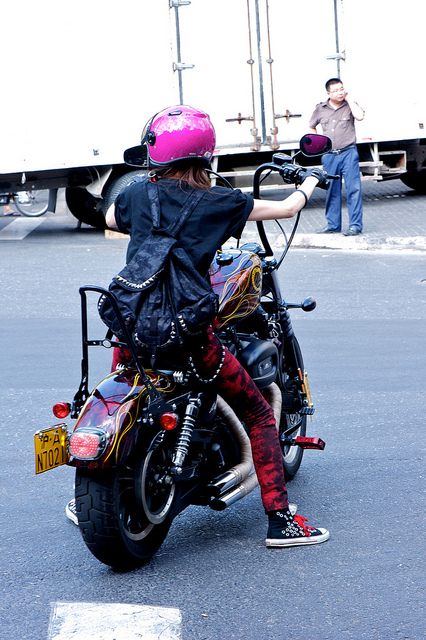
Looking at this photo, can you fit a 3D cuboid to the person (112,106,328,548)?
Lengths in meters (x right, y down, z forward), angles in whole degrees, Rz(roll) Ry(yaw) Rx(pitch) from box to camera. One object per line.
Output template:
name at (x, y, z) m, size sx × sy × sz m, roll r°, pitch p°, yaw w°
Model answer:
person at (0.045, 0.055, 2.614) m, size 0.820 × 1.754 × 0.556 m, roll -3°, pitch 4°, yaw -9°

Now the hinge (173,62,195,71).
hinge at (-0.534, -4.615, 12.449) m, size 0.290 × 0.073 × 0.152 m, roll 0°, pitch 1°, yaw -4°

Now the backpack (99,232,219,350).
backpack at (-0.159, -0.109, 2.421) m, size 0.480 × 0.391 × 0.250 m, roll 6°, pitch 22°, yaw 36°

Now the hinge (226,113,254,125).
hinge at (0.515, -3.794, 12.862) m, size 0.516 × 0.180 × 0.087 m, roll -2°, pitch 4°, yaw 0°

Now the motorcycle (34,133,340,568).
motorcycle at (-0.064, 0.068, 2.886) m, size 1.643 × 1.673 × 0.888 m, roll -5°, pitch 5°, yaw -39°
